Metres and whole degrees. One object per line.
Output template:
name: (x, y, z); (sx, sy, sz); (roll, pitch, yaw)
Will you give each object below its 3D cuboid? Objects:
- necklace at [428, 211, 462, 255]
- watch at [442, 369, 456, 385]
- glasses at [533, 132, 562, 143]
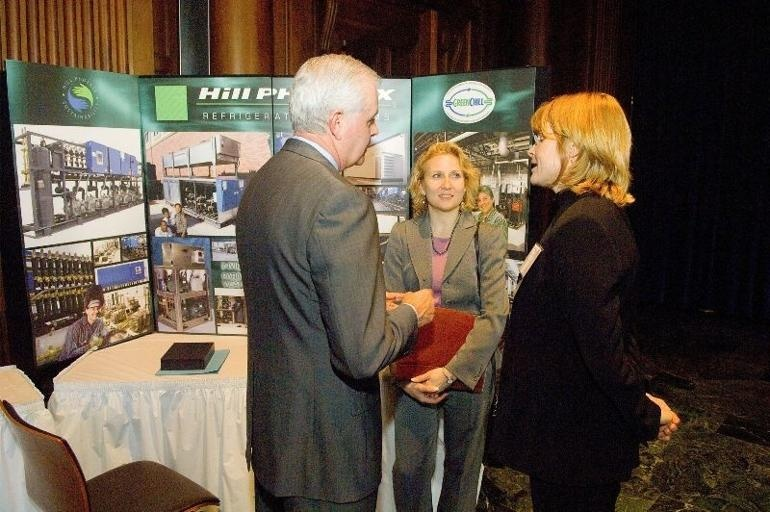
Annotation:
necklace: (0.318, -0.119, 3.061); (0.138, 0.222, 0.054); (3, -15, 15)
watch: (0.329, 0.620, 2.816); (0.047, 0.068, 0.088); (-3, 7, -8)
glasses: (0.737, -0.531, 2.461); (0.075, 0.028, 0.074); (1, 9, -43)
